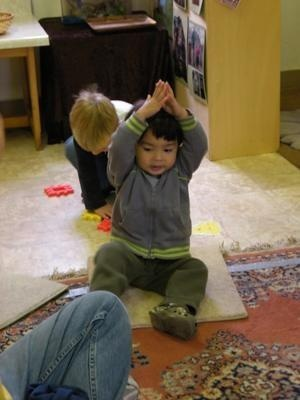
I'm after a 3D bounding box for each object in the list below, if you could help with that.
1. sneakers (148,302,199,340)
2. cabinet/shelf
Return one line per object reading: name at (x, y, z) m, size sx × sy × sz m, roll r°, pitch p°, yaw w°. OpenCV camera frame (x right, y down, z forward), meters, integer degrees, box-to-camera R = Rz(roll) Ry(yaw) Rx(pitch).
sneakers at (0.069, 0.321, 0.994) m, size 0.115 × 0.041 × 0.078 m, roll 12°, pitch 18°, yaw 41°
cabinet/shelf at (-0.388, -0.890, 2.951) m, size 1.217 × 0.865 × 0.804 m, roll -9°, pitch 25°, yaw -17°
